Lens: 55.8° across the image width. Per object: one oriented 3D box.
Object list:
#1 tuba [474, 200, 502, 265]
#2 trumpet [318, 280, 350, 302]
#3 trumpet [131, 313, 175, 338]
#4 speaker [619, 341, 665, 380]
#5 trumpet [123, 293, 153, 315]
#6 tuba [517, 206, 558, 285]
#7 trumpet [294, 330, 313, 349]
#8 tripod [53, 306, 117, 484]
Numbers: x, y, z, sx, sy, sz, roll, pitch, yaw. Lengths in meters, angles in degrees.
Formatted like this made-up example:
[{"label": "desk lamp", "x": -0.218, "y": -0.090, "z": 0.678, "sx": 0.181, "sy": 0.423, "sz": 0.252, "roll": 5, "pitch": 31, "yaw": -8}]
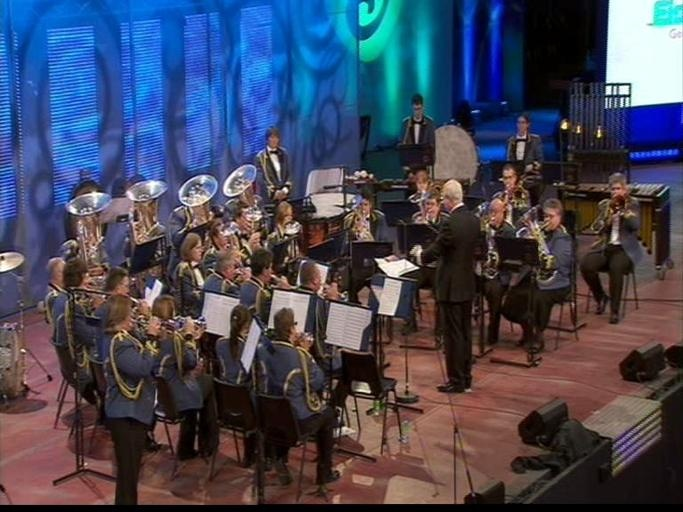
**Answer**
[{"label": "tuba", "x": 2.057, "y": -0.378, "z": 8.867, "sx": 0.324, "sy": 1.011, "sz": 0.368, "roll": -12, "pitch": 19, "yaw": -31}, {"label": "trumpet", "x": -0.099, "y": 0.413, "z": 7.538, "sx": 0.193, "sy": 0.230, "sz": 0.430, "roll": 14, "pitch": 14, "yaw": 28}, {"label": "trumpet", "x": -1.784, "y": 0.635, "z": 5.994, "sx": 0.302, "sy": 0.120, "sz": 0.246, "roll": 12, "pitch": 7, "yaw": 25}, {"label": "speaker", "x": 3.553, "y": 1.205, "z": 7.736, "sx": 0.519, "sy": 0.389, "sz": 0.614, "roll": 6, "pitch": 19, "yaw": 26}, {"label": "trumpet", "x": -1.957, "y": 0.470, "z": 6.218, "sx": 0.186, "sy": 0.134, "sz": 0.190, "roll": 3, "pitch": -32, "yaw": 39}, {"label": "tuba", "x": 2.575, "y": -0.134, "z": 8.418, "sx": 0.521, "sy": 0.996, "sz": 0.541, "roll": -28, "pitch": 15, "yaw": -32}, {"label": "trumpet", "x": -0.351, "y": 0.793, "z": 6.089, "sx": 0.155, "sy": 0.069, "sz": 0.173, "roll": 20, "pitch": -7, "yaw": -19}, {"label": "tripod", "x": -2.720, "y": 1.314, "z": 6.354, "sx": 0.695, "sy": 1.676, "sz": 0.786, "roll": 0, "pitch": 2, "yaw": 4}]
